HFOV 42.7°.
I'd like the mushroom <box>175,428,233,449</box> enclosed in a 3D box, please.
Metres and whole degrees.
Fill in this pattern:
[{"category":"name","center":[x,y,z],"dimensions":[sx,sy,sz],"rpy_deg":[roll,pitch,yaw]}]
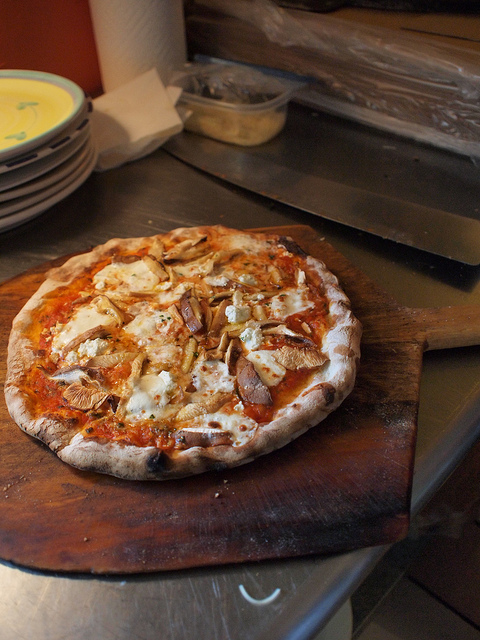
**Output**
[{"category":"mushroom","center":[-0.050,0.161,0.840],"dimensions":[0.064,0.015,0.029],"rpy_deg":[-1,21,16]}]

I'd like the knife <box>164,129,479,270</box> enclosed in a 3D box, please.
[{"category":"knife","center":[0.007,-0.309,1.416],"dimensions":[1.081,0.044,0.169],"rpy_deg":[22,83,27]}]

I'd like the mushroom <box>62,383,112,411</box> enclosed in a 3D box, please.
[{"category":"mushroom","center":[-0.226,0.113,0.901],"dimensions":[0.069,0.020,0.041],"rpy_deg":[22,48,22]}]

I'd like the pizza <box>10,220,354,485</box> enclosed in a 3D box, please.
[{"category":"pizza","center":[-0.096,0.010,1.016],"dimensions":[0.551,0.058,0.524],"rpy_deg":[20,55,13]}]
